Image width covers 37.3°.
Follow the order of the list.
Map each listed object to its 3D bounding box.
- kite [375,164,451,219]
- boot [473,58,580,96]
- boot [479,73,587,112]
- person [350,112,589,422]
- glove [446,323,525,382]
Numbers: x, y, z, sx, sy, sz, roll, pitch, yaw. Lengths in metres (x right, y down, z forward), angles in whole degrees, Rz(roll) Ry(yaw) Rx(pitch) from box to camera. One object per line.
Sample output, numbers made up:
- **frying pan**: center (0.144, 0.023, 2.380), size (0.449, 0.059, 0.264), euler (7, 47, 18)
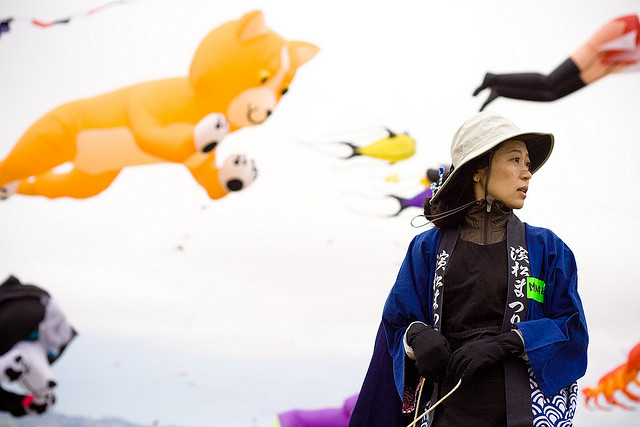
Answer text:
- **kite**: center (0.535, -0.112, 5.410), size (0.417, 0.301, 0.087), euler (-4, -24, 24)
- **boot**: center (1.194, -0.747, 5.457), size (0.605, 0.170, 0.190), euler (-10, -38, 5)
- **boot**: center (1.228, -0.670, 5.343), size (0.583, 0.156, 0.112), euler (-11, -56, 3)
- **person**: center (0.786, 0.267, 4.566), size (0.961, 1.416, 0.496), euler (0, -22, 15)
- **glove**: center (0.769, 0.640, 4.380), size (0.131, 0.341, 0.194), euler (60, -22, -17)
